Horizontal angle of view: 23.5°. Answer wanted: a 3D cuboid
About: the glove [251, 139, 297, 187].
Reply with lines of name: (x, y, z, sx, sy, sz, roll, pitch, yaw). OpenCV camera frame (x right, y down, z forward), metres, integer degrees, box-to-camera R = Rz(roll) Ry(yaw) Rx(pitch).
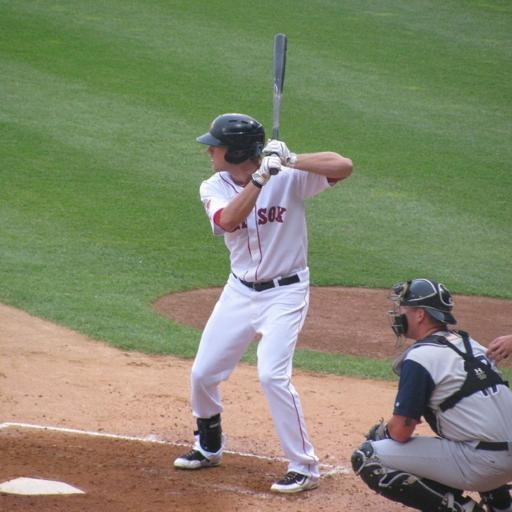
glove: (0.196, -0.963, 12.620, 0.408, 0.484, 0.437, 3, 23, 8)
